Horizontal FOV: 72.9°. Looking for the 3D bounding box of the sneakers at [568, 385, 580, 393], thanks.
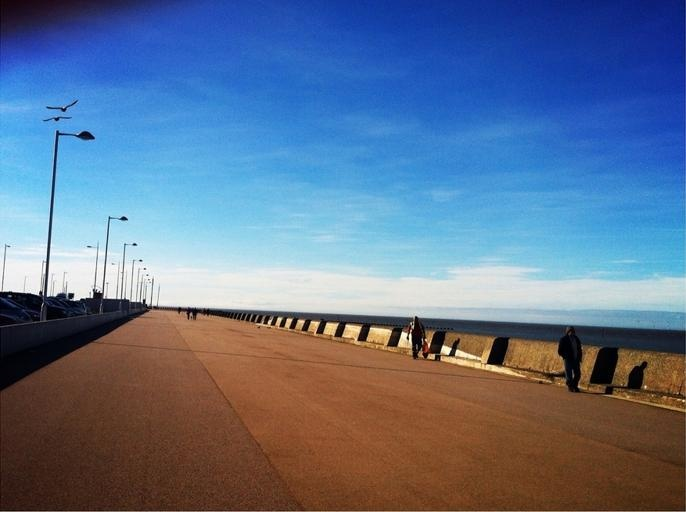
[{"bbox_3d":[6.961,3.963,13.953,0.087,0.232,0.233,-5,-32,-4],"label":"sneakers"}]
